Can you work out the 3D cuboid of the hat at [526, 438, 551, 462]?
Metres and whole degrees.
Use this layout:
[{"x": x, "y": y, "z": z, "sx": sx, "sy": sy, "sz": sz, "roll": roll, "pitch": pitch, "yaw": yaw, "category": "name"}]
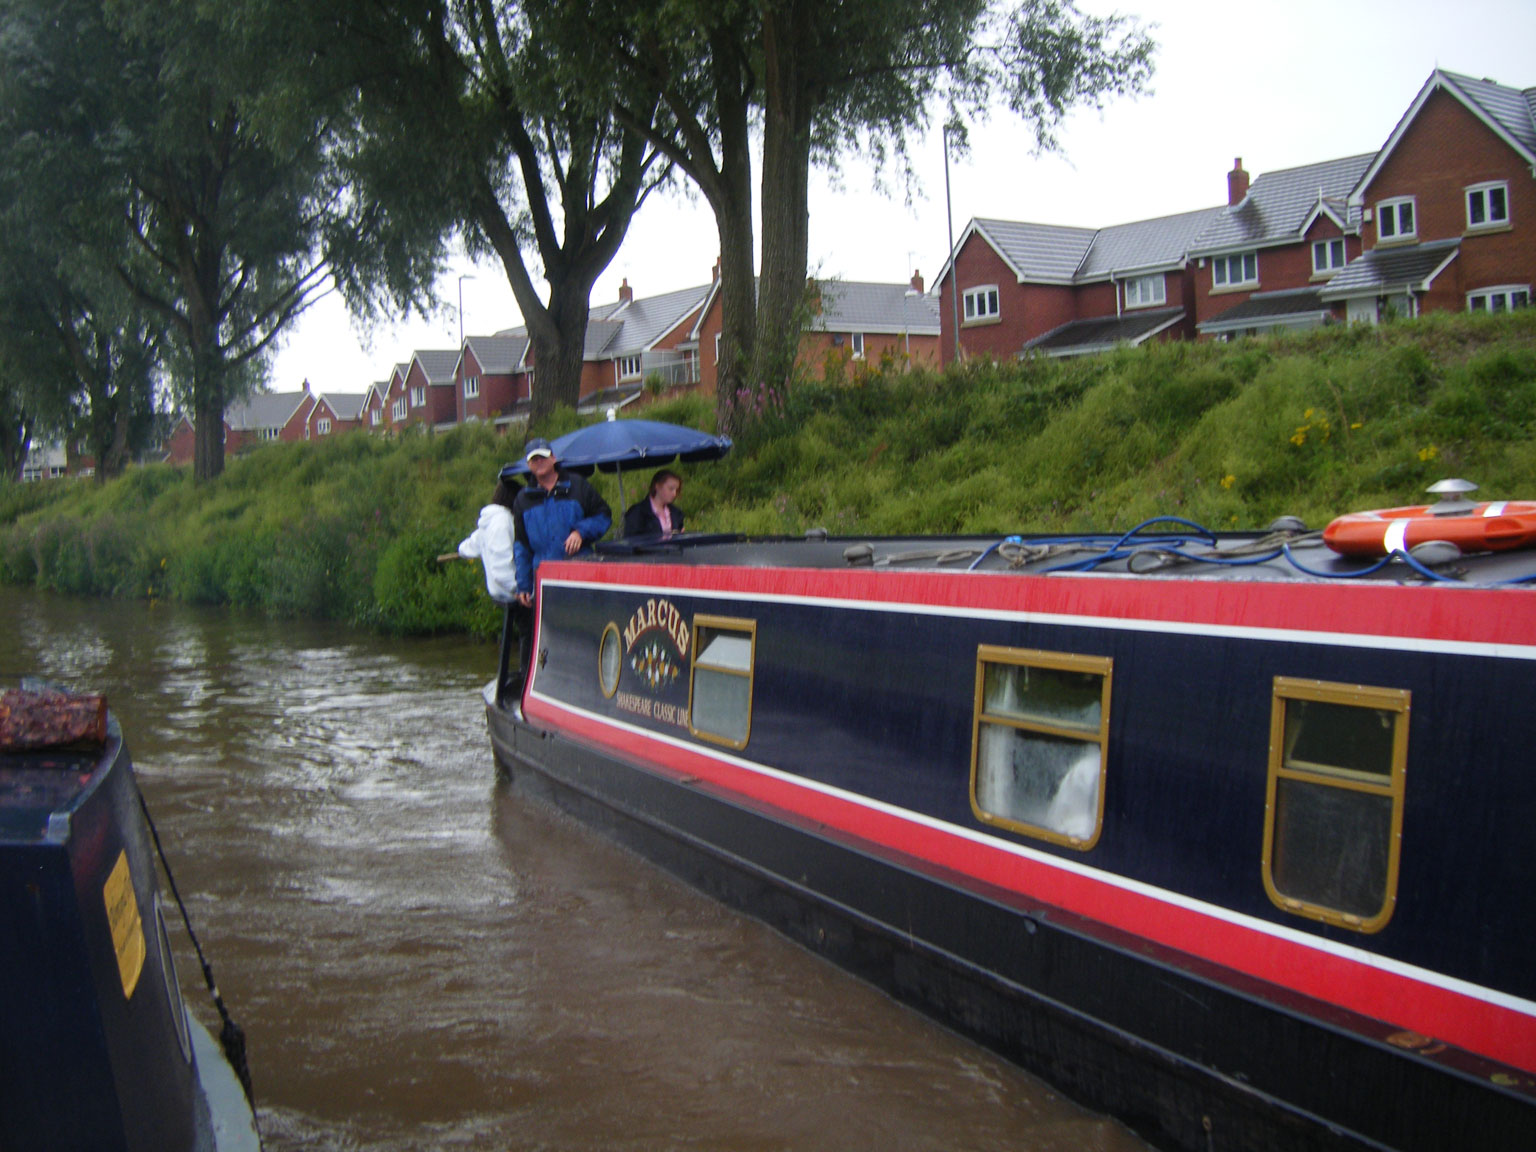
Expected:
[{"x": -2.043, "y": -1.105, "z": 13.932, "sx": 0.185, "sy": 0.227, "sz": 0.297, "roll": 6, "pitch": -8, "yaw": -20, "category": "hat"}]
